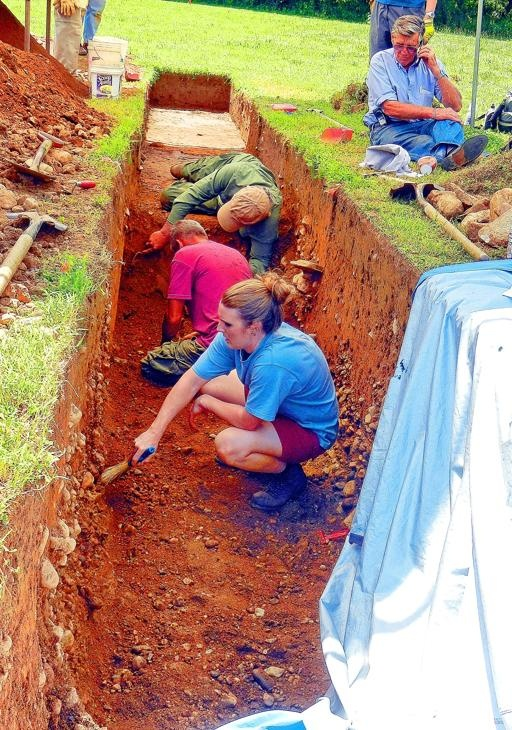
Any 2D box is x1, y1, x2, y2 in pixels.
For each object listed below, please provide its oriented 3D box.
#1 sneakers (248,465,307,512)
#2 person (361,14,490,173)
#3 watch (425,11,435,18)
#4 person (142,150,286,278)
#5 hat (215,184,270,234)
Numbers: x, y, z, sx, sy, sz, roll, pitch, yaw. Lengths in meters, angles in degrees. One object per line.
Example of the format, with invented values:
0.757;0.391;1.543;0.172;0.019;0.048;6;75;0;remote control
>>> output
0.111;0.507;3.284;0.269;0.198;0.097;-26;42;-19;sneakers
1.156;-2.030;5.039;0.609;0.937;0.921;0;25;-13;person
1.358;-2.951;5.776;0.079;0.047;0.092;0;16;4;watch
-0.238;-1.372;5.279;0.825;0.579;1.611;14;33;-15;person
-0.083;-1.114;4.755;0.324;0.227;0.179;-21;13;25;hat
